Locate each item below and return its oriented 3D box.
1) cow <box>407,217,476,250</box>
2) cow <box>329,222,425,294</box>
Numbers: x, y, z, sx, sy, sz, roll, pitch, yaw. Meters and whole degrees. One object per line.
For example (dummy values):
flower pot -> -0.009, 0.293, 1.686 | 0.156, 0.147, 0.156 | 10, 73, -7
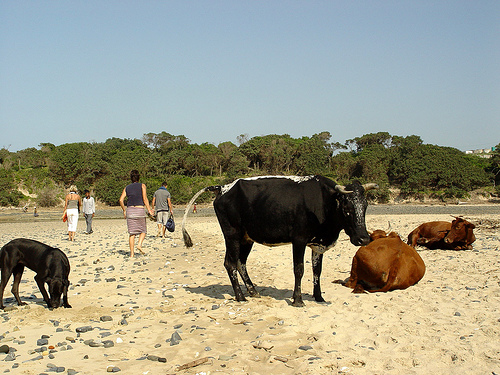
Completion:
cow -> 6.804, 1.728, 13.924 | 1.289, 0.809, 1.881 | 12, -13, -32
cow -> 3.497, 1.851, 10.095 | 1.374, 1.111, 2.222 | 2, 7, 16
